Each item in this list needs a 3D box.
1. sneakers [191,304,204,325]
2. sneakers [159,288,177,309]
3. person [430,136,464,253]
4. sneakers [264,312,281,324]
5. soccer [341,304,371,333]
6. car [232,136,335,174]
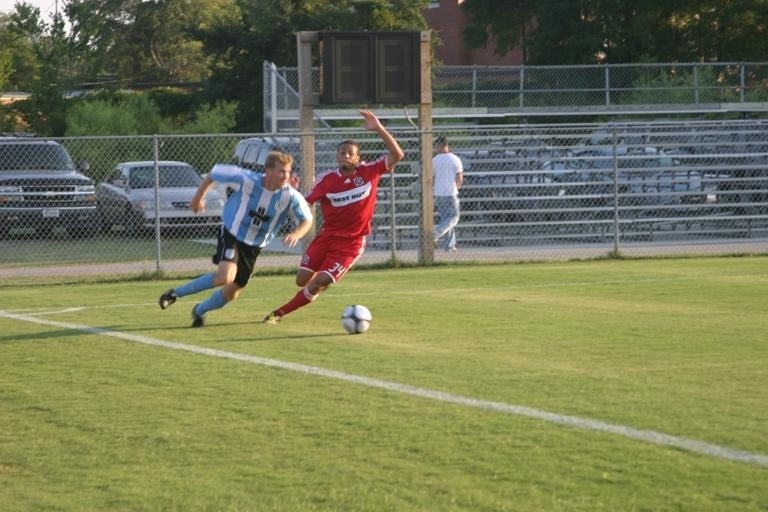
[{"bbox_3d":[-2.467,0.820,14.405,0.176,0.247,0.265,1,7,-6],"label":"sneakers"},{"bbox_3d":[-2.924,0.595,14.777,0.349,0.125,0.146,-38,27,0],"label":"sneakers"},{"bbox_3d":[1.172,-1.170,20.846,0.534,2.206,0.879,1,4,3],"label":"person"},{"bbox_3d":[-1.531,0.848,14.699,0.163,0.082,0.205,-6,-1,-17],"label":"sneakers"},{"bbox_3d":[-0.436,0.807,14.330,0.399,0.401,0.367,13,1,-15],"label":"soccer"},{"bbox_3d":[-2.208,-2.334,24.156,1.332,0.931,2.400,0,1,-24],"label":"car"}]
